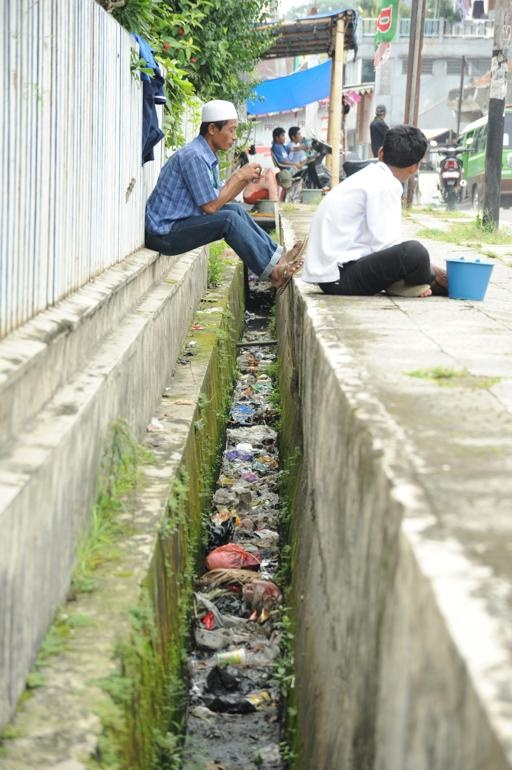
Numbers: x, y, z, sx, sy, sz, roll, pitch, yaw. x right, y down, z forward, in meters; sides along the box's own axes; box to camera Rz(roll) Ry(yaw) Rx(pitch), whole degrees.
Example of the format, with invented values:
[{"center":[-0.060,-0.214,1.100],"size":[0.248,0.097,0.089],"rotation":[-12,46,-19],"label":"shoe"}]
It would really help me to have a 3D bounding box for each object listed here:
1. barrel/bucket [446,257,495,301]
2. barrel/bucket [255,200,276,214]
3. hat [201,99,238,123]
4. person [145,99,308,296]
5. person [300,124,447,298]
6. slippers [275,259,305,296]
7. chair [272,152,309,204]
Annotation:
[{"center":[1.145,-0.595,4.417],"size":[0.334,0.226,0.139],"rotation":[14,19,42],"label":"barrel/bucket"},{"center":[0.148,-2.698,11.949],"size":[0.219,0.133,0.216],"rotation":[0,14,0],"label":"barrel/bucket"},{"center":[-0.207,-1.669,4.829],"size":[0.164,0.095,0.163],"rotation":[5,28,11],"label":"hat"},{"center":[-0.233,-1.146,4.782],"size":[0.949,1.108,0.414],"rotation":[-6,16,-25],"label":"person"},{"center":[0.744,-0.971,4.459],"size":[0.855,0.962,0.901],"rotation":[-3,15,-26],"label":"person"},{"center":[0.176,-0.702,4.974],"size":[0.104,0.242,0.089],"rotation":[15,28,-44],"label":"slippers"},{"center":[0.601,-3.995,15.217],"size":[0.583,0.686,1.053],"rotation":[2,35,7],"label":"chair"}]
